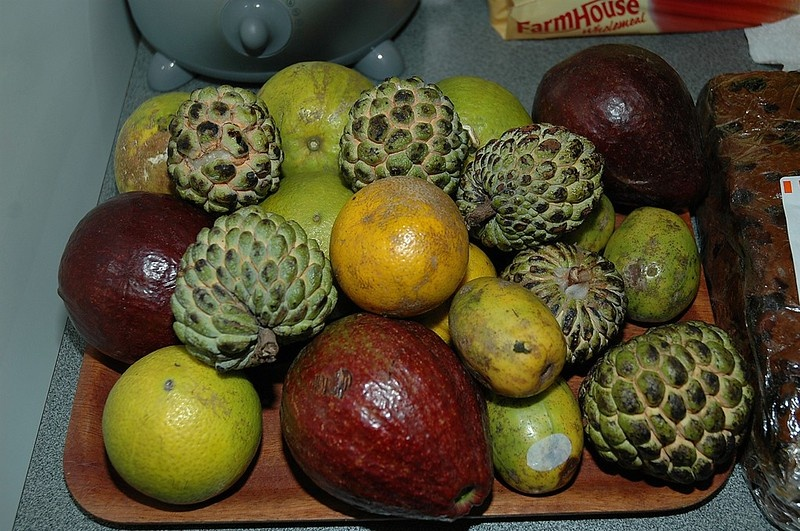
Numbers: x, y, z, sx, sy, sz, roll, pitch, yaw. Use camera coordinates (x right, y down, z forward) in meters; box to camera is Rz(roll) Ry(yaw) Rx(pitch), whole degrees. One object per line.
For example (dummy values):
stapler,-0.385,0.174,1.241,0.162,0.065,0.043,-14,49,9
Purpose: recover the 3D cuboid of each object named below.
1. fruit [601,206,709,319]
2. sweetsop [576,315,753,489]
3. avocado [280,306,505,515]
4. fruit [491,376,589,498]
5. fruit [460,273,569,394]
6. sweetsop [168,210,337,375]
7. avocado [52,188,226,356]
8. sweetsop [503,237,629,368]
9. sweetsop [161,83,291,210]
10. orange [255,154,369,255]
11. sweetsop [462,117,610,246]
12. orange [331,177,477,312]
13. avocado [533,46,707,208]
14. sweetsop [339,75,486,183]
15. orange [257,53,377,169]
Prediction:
fruit,0.573,-0.017,1.609,0.172,0.237,0.185,-29,86,17
sweetsop,0.521,0.266,1.402,0.324,0.123,0.286,-16,68,-7
avocado,-0.018,0.269,1.344,0.400,0.152,0.338,7,67,3
fruit,0.258,0.327,1.451,0.157,0.153,0.219,-21,82,1
fruit,0.192,0.123,1.382,0.214,0.157,0.159,35,89,26
sweetsop,-0.248,0.027,1.440,0.299,0.267,0.273,-2,107,1
avocado,-0.545,0.044,1.554,0.406,0.339,0.336,5,89,20
sweetsop,0.337,0.069,1.511,0.228,0.240,0.248,-7,65,-5
sweetsop,-0.341,-0.195,1.517,0.210,0.236,0.252,14,73,-27
orange,-0.180,-0.125,1.465,0.165,0.196,0.169,3,81,-2
sweetsop,0.242,-0.137,1.517,0.272,0.216,0.222,-24,85,-8
orange,0.006,-0.043,1.423,0.249,0.241,0.235,27,103,-20
avocado,0.487,-0.286,1.652,0.275,0.286,0.367,-44,90,8
sweetsop,0.020,-0.260,1.524,0.230,0.200,0.211,-9,75,-9
orange,-0.221,-0.330,1.657,0.232,0.266,0.230,-16,46,-30
